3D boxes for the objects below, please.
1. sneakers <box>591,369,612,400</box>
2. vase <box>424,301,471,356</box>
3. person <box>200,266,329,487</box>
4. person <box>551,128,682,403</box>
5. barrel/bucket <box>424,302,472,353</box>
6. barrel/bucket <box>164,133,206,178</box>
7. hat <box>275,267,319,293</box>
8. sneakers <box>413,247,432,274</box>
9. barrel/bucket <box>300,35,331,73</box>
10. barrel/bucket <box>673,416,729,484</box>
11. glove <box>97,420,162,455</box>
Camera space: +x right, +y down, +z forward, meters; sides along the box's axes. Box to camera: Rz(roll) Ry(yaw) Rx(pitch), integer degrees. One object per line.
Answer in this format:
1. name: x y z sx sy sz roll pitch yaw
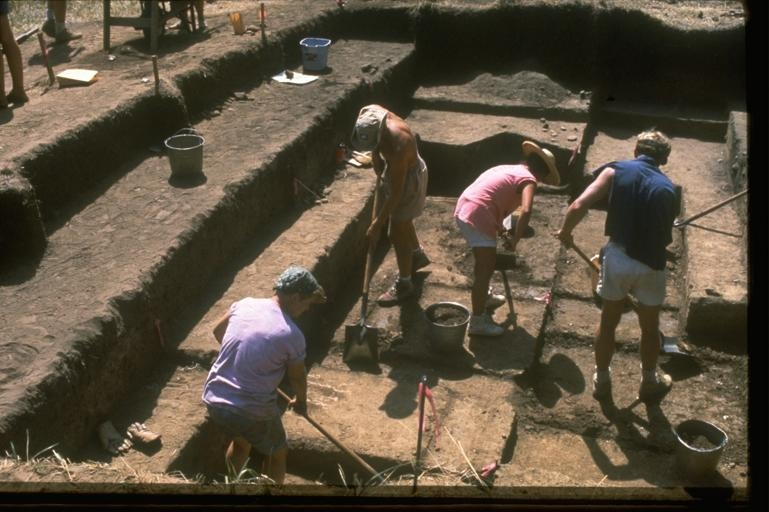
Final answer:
1. sneakers: 2.072 1.243 7.133 0.209 0.272 0.270 -2 50 6
2. vase: 0.638 0.711 7.507 0.479 0.340 0.497 -17 29 -26
3. person: -1.022 1.176 6.242 1.074 2.046 0.760 -1 18 -22
4. person: 2.258 0.162 6.902 0.822 2.397 0.956 -14 31 -22
5. barrel/bucket: 0.639 0.713 7.503 0.477 0.337 0.495 -2 26 1
6. barrel/bucket: -2.115 -1.074 8.071 0.464 0.348 0.479 4 37 -3
7. hat: -0.711 0.209 5.971 0.313 0.190 0.213 8 29 16
8. sneakers: 0.390 0.038 8.298 0.116 0.237 0.332 -10 40 24
9. barrel/bucket: -0.994 -2.845 10.724 0.496 0.385 0.524 0 36 0
10. barrel/bucket: 2.715 1.671 6.613 0.481 0.398 0.502 -10 28 5
11. glove: -2.206 1.567 6.356 0.407 0.115 0.282 15 21 33
